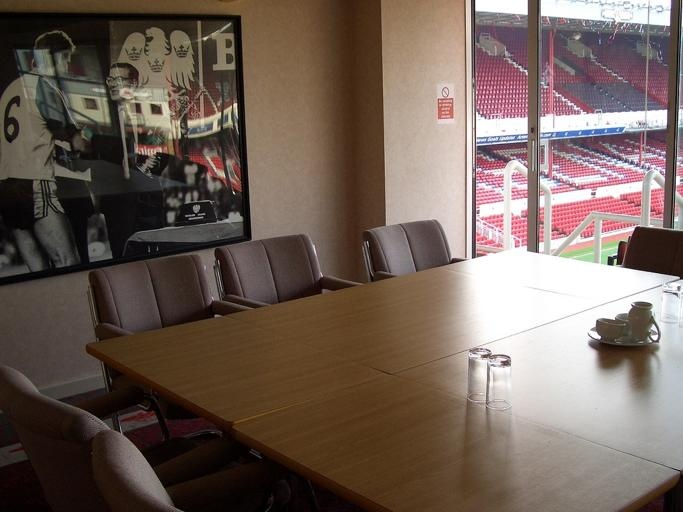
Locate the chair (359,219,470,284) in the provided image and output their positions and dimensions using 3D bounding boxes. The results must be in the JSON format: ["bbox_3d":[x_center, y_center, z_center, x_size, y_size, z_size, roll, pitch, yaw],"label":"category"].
[{"bbox_3d":[0.459,-0.051,3.528,0.457,0.641,0.525,-13,10,-35],"label":"chair"}]

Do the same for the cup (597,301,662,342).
[{"bbox_3d":[1.136,0.252,2.091,0.144,0.151,0.247,-3,6,-19],"label":"cup"}]

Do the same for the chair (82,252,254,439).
[{"bbox_3d":[-0.828,0.503,2.680,0.714,0.887,0.743,-11,18,-39],"label":"chair"}]

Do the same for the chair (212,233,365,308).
[{"bbox_3d":[-0.308,0.122,3.075,0.560,0.694,0.564,-11,10,-43],"label":"chair"}]

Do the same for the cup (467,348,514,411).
[{"bbox_3d":[0.472,0.402,1.637,0.092,0.160,0.157,-4,6,-41],"label":"cup"}]
